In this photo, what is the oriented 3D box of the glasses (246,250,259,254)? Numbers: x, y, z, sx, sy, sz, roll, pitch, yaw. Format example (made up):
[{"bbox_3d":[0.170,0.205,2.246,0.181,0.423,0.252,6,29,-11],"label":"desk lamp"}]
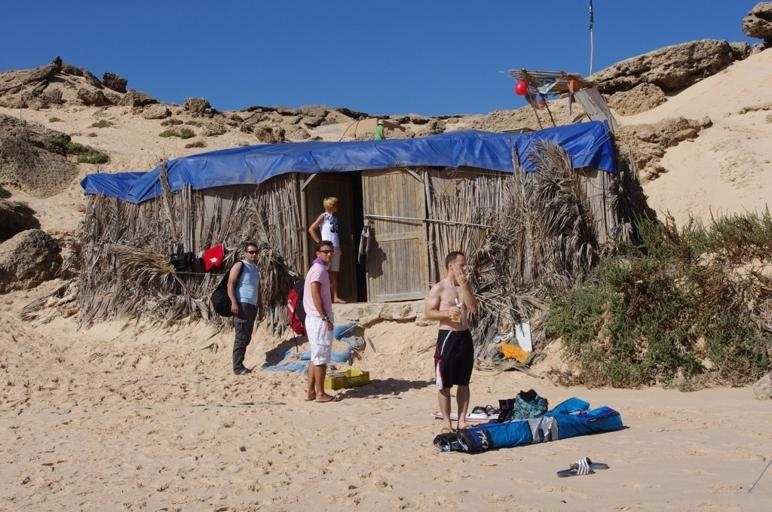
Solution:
[{"bbox_3d":[-2.173,-0.045,14.979,0.145,0.068,0.126,-1,0,-13],"label":"glasses"}]

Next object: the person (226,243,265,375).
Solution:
[{"bbox_3d":[-2.336,0.871,15.100,0.496,2.011,0.514,-1,0,-11],"label":"person"}]

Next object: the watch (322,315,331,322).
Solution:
[{"bbox_3d":[-0.880,0.952,13.656,0.100,0.066,0.104,8,-13,5],"label":"watch"}]

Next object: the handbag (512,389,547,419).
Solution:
[{"bbox_3d":[2.005,2.101,12.834,0.380,0.252,0.486,-1,2,9],"label":"handbag"}]

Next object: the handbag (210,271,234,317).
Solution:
[{"bbox_3d":[-2.700,0.653,15.209,0.260,0.734,0.544,8,-1,-6],"label":"handbag"}]

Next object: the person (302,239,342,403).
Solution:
[{"bbox_3d":[-0.998,1.005,13.831,0.435,2.150,0.586,-1,0,-4],"label":"person"}]

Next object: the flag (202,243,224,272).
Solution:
[{"bbox_3d":[-3.067,0.048,16.448,0.522,0.626,0.074,2,3,25],"label":"flag"}]

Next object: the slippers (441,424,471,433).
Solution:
[{"bbox_3d":[0.961,2.345,12.401,0.369,0.091,0.141,1,-5,-16],"label":"slippers"}]

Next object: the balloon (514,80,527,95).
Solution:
[{"bbox_3d":[2.570,-3.235,17.627,0.219,0.233,0.427,-1,0,27],"label":"balloon"}]

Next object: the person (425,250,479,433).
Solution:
[{"bbox_3d":[0.897,1.183,12.472,0.667,2.028,0.410,-1,0,10],"label":"person"}]

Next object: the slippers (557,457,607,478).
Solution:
[{"bbox_3d":[2.461,2.657,11.476,0.541,0.112,0.260,-3,7,-3],"label":"slippers"}]
